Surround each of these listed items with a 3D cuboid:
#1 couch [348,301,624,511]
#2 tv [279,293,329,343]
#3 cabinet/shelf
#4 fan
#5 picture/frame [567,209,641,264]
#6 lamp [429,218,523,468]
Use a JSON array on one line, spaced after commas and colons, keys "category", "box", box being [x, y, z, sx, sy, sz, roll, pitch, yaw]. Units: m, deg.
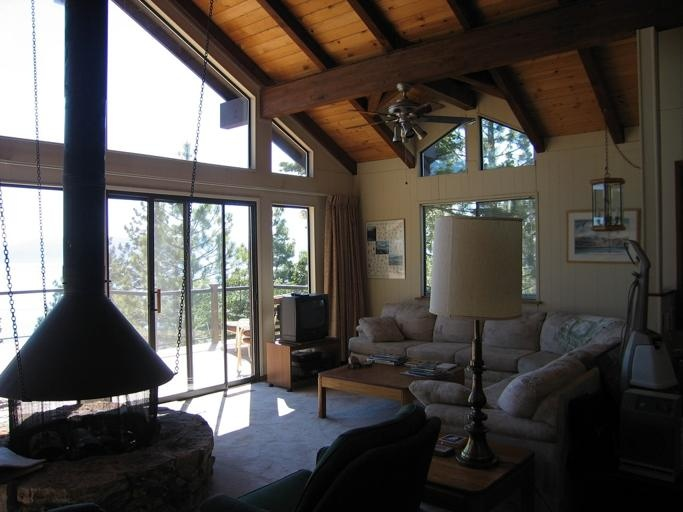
[{"category": "couch", "box": [1.084, 1.061, 4.461, 1.616, 0.575, 1.912, -2, -2, 33]}, {"category": "tv", "box": [-0.473, 0.699, 7.381, 0.524, 0.774, 0.862, -4, -4, 37]}, {"category": "cabinet/shelf", "box": [-0.567, 1.376, 7.209, 0.944, 0.573, 0.586, -2, 3, -44]}, {"category": "fan", "box": [0.779, -1.417, 5.844, 1.058, 0.436, 1.109, 1, 5, 2]}, {"category": "picture/frame", "box": [3.022, -0.224, 6.304, 0.643, 0.532, 0.041, -4, -7, 36]}, {"category": "lamp", "box": [0.826, 0.515, 3.305, 0.534, 1.480, 0.327, -3, -1, 24]}]
